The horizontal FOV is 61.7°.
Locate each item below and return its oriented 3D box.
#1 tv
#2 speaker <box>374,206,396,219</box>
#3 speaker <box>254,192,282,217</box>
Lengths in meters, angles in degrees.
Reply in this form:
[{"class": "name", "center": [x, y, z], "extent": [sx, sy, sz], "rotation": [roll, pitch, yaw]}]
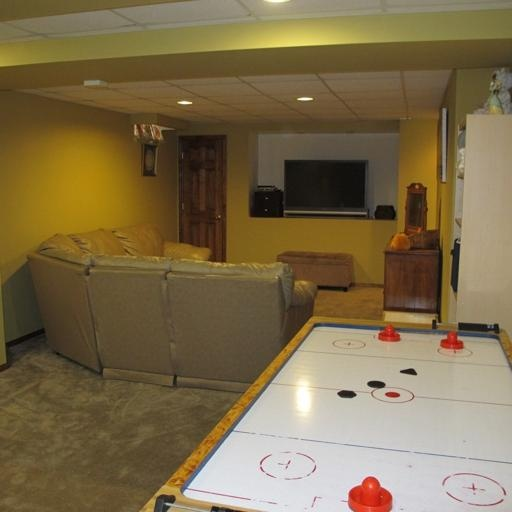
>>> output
[{"class": "tv", "center": [1.282, -1.210, 7.507], "extent": [1.065, 0.676, 0.070], "rotation": [2, 8, 17]}, {"class": "speaker", "center": [2.176, -0.734, 7.218], "extent": [0.344, 0.257, 0.332], "rotation": [5, 8, 19]}, {"class": "speaker", "center": [0.204, -0.896, 7.646], "extent": [0.465, 0.434, 0.472], "rotation": [0, 2, 10]}]
